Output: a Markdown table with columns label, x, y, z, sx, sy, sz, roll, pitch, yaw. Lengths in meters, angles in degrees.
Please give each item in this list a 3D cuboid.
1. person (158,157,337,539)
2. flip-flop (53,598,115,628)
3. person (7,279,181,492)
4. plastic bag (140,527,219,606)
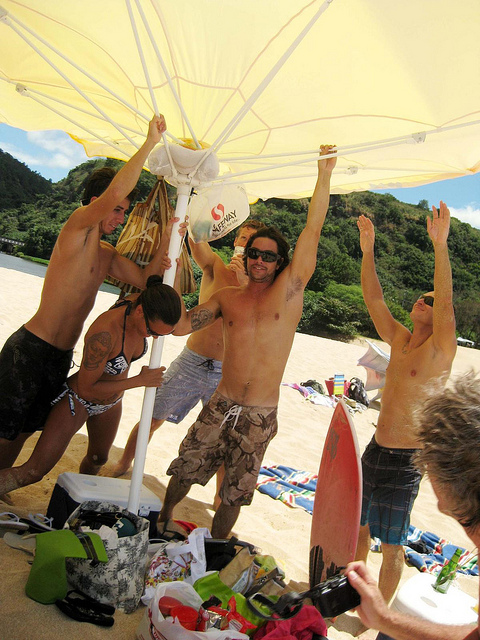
| label | x | y | z | sx | sy | sz | roll | pitch | yaw |
| --- | --- | --- | --- | --- | --- | --- | --- | --- | --- |
| person | -0.049 | 0.232 | 2.594 | 0.953 | 2.527 | 0.670 | 10 | -5 | 25 |
| flip-flop | -0.578 | 1.073 | 1.588 | 0.208 | 0.058 | 0.074 | 21 | -10 | -6 |
| person | -0.882 | 0.442 | 2.621 | 0.537 | 1.258 | 1.307 | 18 | -5 | -15 |
| plastic bag | -0.256 | 1.137 | 2.046 | 0.366 | 0.132 | 0.287 | -3 | 5 | -7 |
